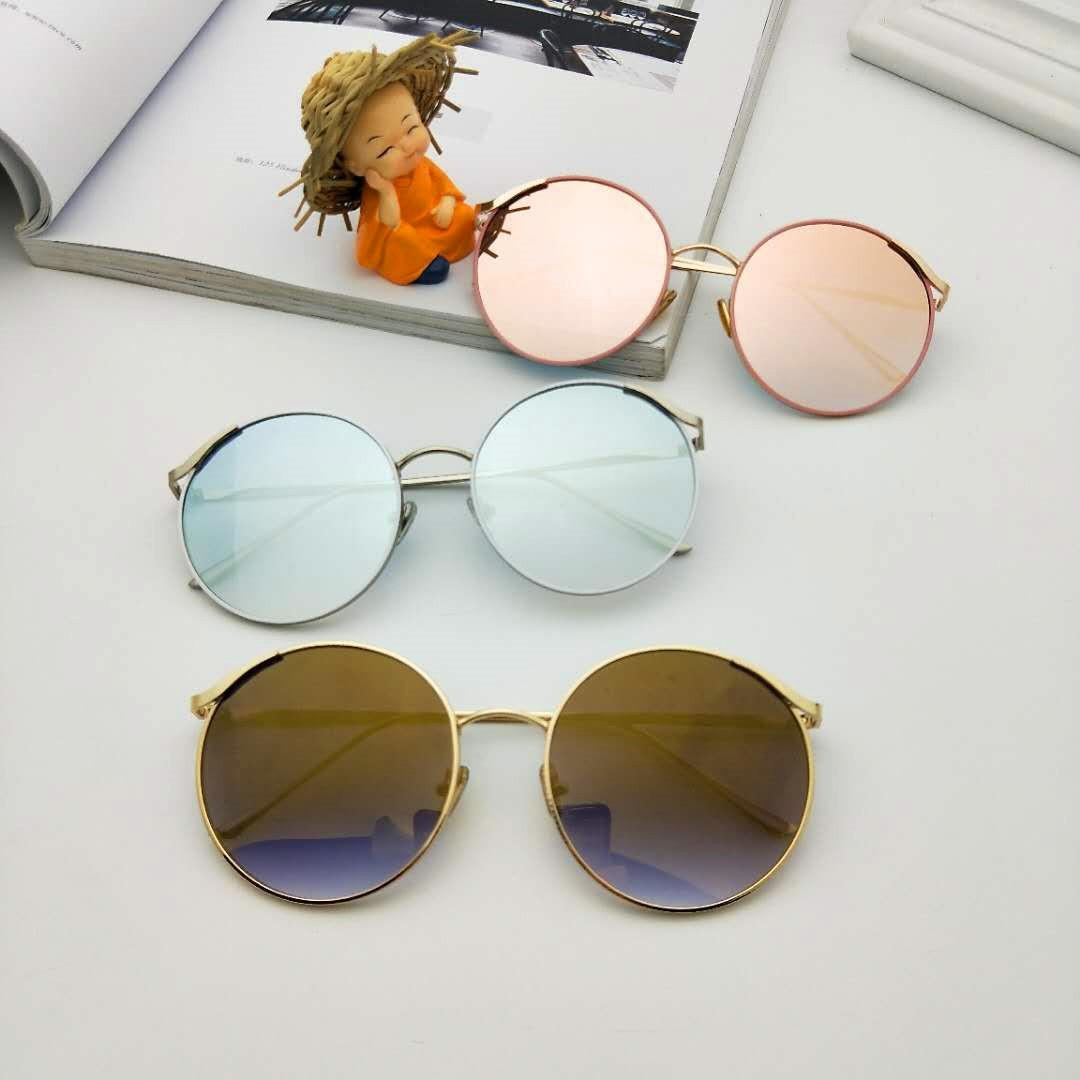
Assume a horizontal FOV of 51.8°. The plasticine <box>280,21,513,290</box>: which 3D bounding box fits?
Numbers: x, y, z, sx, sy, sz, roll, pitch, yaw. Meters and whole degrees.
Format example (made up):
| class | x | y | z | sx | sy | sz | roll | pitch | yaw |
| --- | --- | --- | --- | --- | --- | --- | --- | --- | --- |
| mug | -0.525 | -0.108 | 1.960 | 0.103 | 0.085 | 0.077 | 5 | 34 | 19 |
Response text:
| class | x | y | z | sx | sy | sz | roll | pitch | yaw |
| --- | --- | --- | --- | --- | --- | --- | --- | --- | --- |
| plasticine | -0.114 | -0.301 | 0.889 | 0.141 | 0.169 | 0.181 | 7 | 2 | -5 |
